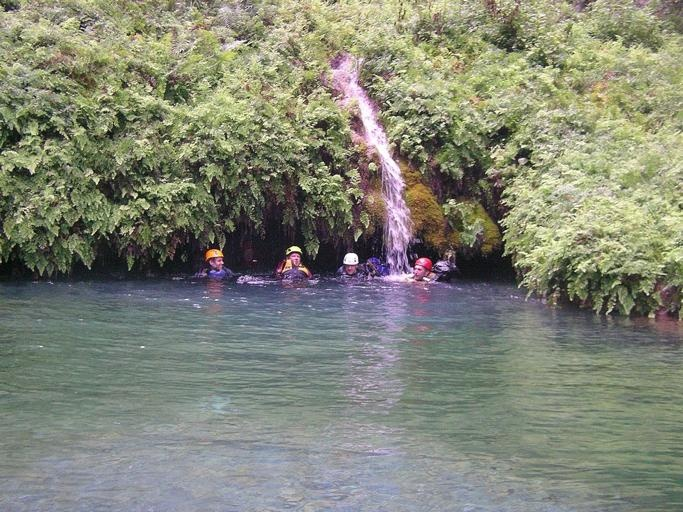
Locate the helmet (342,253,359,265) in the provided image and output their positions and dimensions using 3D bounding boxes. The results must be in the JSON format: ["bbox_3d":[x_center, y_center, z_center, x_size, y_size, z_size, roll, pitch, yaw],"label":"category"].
[{"bbox_3d":[0.267,0.108,18.655,0.389,0.347,0.334,0,13,-6],"label":"helmet"}]

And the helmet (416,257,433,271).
[{"bbox_3d":[2.272,0.206,17.963,0.419,0.324,0.327,35,13,2],"label":"helmet"}]

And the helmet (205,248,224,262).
[{"bbox_3d":[-3.505,-0.034,17.978,0.432,0.200,0.316,-7,-4,38],"label":"helmet"}]

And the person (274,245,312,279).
[{"bbox_3d":[-1.326,0.248,18.438,0.903,0.915,1.221,2,22,1],"label":"person"}]
